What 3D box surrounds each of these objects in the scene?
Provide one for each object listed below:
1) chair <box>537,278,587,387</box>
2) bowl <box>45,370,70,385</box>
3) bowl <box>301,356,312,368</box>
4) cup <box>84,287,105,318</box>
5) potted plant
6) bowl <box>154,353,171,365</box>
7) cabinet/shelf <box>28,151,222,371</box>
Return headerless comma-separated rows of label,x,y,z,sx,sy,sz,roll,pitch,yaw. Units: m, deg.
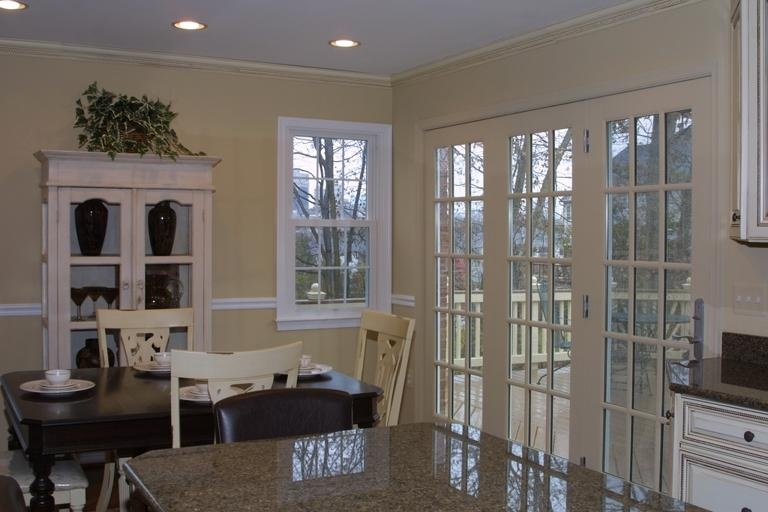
chair,1.331,0.641,4.404,0.289,0.427,0.299,-13,-18,40
bowl,-1.771,0.675,3.261,0.109,0.068,0.109,-2,-15,0
bowl,-0.488,0.655,3.699,0.072,0.046,0.072,-1,-6,0
cup,-2.202,0.345,4.548,0.203,0.240,0.207,0,-7,0
potted plant,-1.978,-1.059,4.901,0.912,0.481,0.848,7,12,-17
bowl,-1.356,0.631,3.708,0.118,0.078,0.116,4,-8,1
cabinet/shelf,-2.035,0.227,4.797,1.223,1.839,0.486,-1,3,-28
